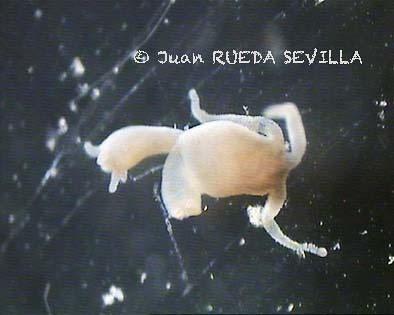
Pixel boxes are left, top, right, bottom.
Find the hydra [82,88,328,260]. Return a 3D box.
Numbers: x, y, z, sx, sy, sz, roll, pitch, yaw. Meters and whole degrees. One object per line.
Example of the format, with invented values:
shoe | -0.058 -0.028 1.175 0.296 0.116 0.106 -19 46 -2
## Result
hydra | 0.078 0.000 2.873 0.845 0.038 0.488 15 86 3
